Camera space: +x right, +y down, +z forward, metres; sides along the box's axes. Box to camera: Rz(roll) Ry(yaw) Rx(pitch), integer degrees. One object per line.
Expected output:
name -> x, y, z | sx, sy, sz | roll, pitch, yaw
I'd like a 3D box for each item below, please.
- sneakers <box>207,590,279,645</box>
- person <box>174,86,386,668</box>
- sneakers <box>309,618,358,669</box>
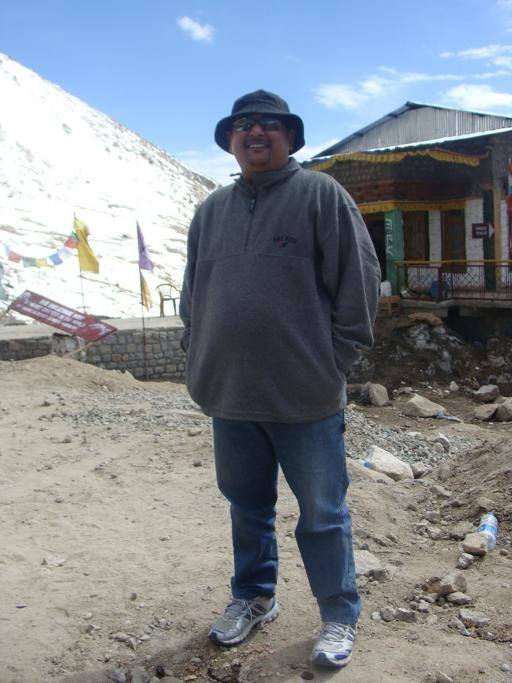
sneakers -> -0.050, 1.106, 2.606 | 0.110, 0.127, 0.314 | -2, -2, 39
person -> 0.061, 0.113, 2.463 | 0.746, 2.134, 0.395 | 2, 4, 30
sneakers -> 0.283, 1.090, 2.344 | 0.125, 0.127, 0.189 | 2, 3, 23
